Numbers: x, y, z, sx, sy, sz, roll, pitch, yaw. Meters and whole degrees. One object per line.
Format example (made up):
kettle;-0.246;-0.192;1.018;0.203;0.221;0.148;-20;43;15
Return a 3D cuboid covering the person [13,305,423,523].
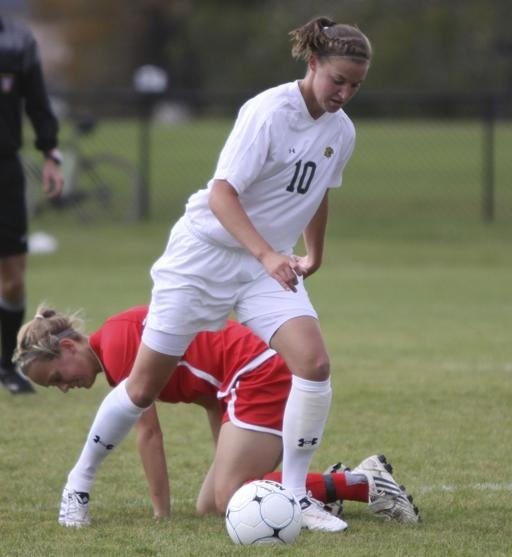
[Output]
person;-0.130;0.561;4.495;1.645;0.877;0.622;3;-17;-3

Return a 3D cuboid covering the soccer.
soccer;0.057;0.766;3.868;0.252;0.247;0.254;-7;-10;36

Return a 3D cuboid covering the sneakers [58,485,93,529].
sneakers;-0.623;0.787;3.999;0.064;0.078;0.181;4;15;-10

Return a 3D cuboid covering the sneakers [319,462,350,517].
sneakers;0.286;0.762;4.151;0.093;0.204;0.068;-3;6;-6

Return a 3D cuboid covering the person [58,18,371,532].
person;-0.097;-0.029;3.985;0.976;1.704;0.565;0;9;4
